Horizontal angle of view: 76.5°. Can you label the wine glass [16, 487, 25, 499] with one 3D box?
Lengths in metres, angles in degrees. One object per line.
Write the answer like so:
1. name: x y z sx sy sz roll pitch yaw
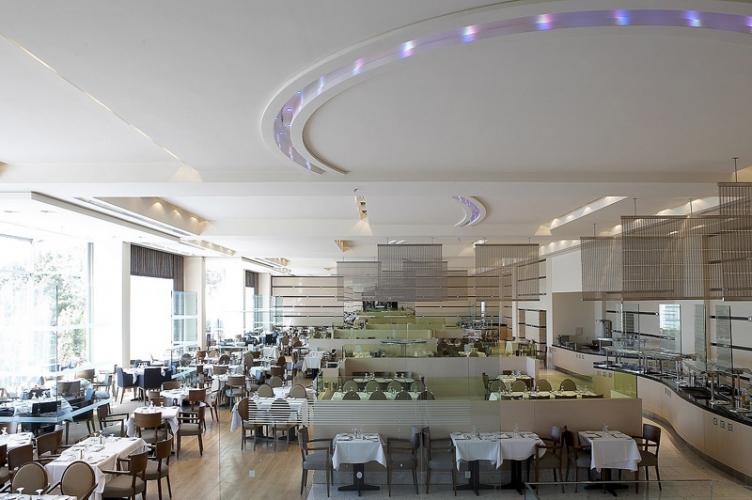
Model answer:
1. wine glass: -4.654 3.122 6.245 0.095 0.127 0.341 8 -12 -35
